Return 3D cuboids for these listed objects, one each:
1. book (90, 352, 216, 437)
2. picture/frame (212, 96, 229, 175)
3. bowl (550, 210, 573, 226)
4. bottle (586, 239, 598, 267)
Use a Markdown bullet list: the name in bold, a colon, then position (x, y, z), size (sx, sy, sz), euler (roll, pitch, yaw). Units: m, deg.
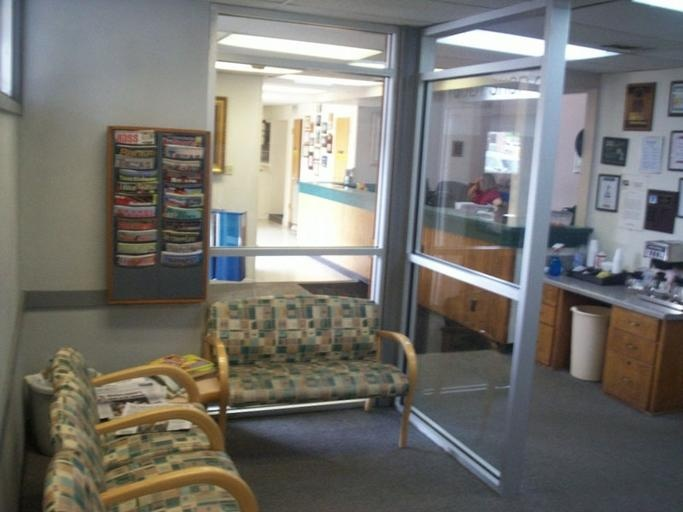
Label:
- **book**: position (-1.120, 0.669, 3.361), size (0.547, 0.661, 0.469), euler (-9, 14, -22)
- **picture/frame**: position (-0.887, -0.888, 4.010), size (0.108, 0.554, 0.049), euler (-3, 16, -26)
- **bowl**: position (2.438, -0.432, 6.157), size (0.324, 0.139, 0.215), euler (4, -3, -34)
- **bottle**: position (2.632, -0.041, 5.758), size (0.098, 0.269, 0.170), euler (10, 15, 24)
